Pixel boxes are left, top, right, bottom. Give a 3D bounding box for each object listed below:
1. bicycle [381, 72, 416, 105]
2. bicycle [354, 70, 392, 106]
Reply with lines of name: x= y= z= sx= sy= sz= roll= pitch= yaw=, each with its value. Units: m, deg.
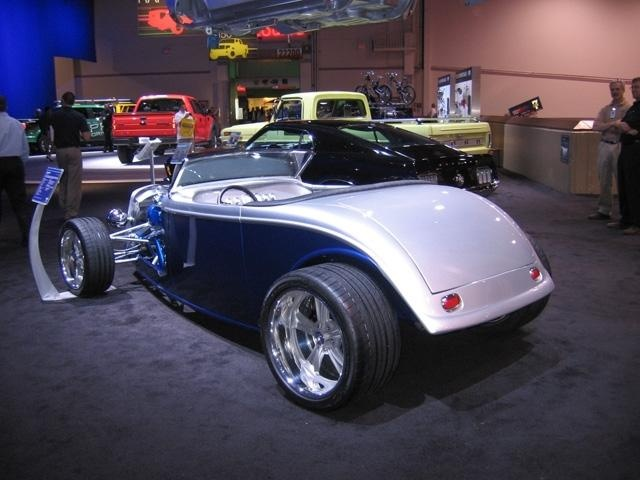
bicycle: x=3.407 y=-6.720 z=18.925 sx=1.702 sy=1.134 sz=0.797 roll=-2 pitch=17 yaw=-7
bicycle: x=2.389 y=-6.875 z=19.266 sx=1.789 sy=1.164 sz=0.794 roll=15 pitch=17 yaw=29
